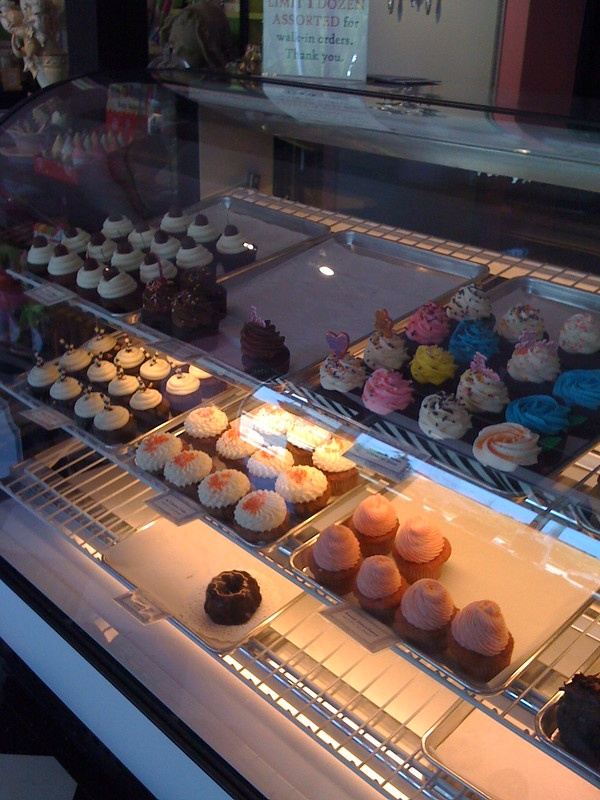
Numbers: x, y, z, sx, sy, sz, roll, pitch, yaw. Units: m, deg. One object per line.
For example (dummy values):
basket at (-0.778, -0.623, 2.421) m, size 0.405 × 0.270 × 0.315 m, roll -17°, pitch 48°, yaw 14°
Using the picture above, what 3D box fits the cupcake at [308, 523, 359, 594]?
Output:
cupcake at (0.089, 0.387, 1.489) m, size 0.112 × 0.121 × 0.108 m, roll -8°, pitch 2°, yaw -32°

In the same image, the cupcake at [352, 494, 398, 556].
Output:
cupcake at (0.183, 0.305, 1.570) m, size 0.134 × 0.150 × 0.129 m, roll 0°, pitch 7°, yaw 3°

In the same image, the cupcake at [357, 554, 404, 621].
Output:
cupcake at (0.171, 0.447, 1.433) m, size 0.087 × 0.097 × 0.092 m, roll -5°, pitch -3°, yaw 42°

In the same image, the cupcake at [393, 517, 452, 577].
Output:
cupcake at (0.275, 0.368, 1.518) m, size 0.144 × 0.148 × 0.140 m, roll 6°, pitch 0°, yaw -9°

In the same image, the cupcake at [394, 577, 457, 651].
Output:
cupcake at (0.251, 0.446, 1.349) m, size 0.119 × 0.126 × 0.125 m, roll -2°, pitch 15°, yaw -4°

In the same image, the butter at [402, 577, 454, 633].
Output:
butter at (0.268, 0.436, 1.329) m, size 0.101 × 0.054 × 0.095 m, roll -5°, pitch 34°, yaw 0°

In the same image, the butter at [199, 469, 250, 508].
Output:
butter at (-0.204, 0.220, 1.703) m, size 0.109 × 0.032 × 0.104 m, roll -8°, pitch 31°, yaw -2°
